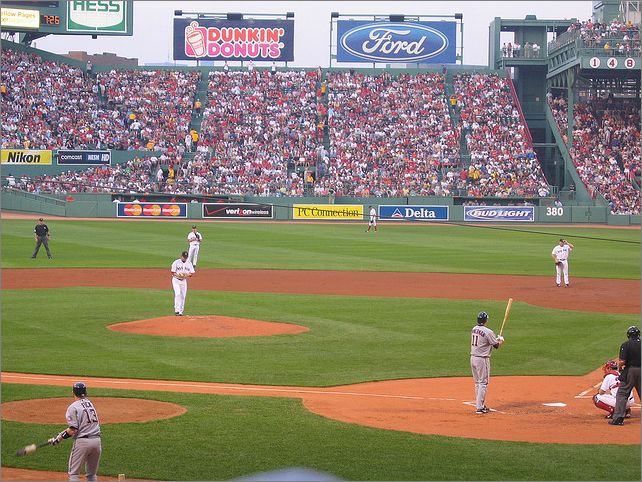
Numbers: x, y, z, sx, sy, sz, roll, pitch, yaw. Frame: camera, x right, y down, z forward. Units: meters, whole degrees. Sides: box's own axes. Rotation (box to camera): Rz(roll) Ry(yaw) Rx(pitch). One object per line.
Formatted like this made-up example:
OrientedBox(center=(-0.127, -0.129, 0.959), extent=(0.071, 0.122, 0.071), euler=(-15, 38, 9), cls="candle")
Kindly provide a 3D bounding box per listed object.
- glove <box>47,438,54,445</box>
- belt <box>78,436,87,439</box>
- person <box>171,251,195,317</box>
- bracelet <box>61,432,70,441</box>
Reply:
OrientedBox(center=(-11.199, 8.400, 57.620), extent=(0.194, 0.235, 0.114), euler=(6, -8, 14), cls="glove")
OrientedBox(center=(-9.892, 8.245, 57.822), extent=(0.388, 0.106, 0.025), euler=(0, 2, -6), cls="belt")
OrientedBox(center=(-7.045, 2.245, 70.532), extent=(1.095, 3.084, 1.250), euler=(7, 6, 32), cls="person")
OrientedBox(center=(-10.635, 8.199, 57.807), extent=(0.328, 0.219, 0.306), euler=(12, -6, -2), cls="bracelet")
